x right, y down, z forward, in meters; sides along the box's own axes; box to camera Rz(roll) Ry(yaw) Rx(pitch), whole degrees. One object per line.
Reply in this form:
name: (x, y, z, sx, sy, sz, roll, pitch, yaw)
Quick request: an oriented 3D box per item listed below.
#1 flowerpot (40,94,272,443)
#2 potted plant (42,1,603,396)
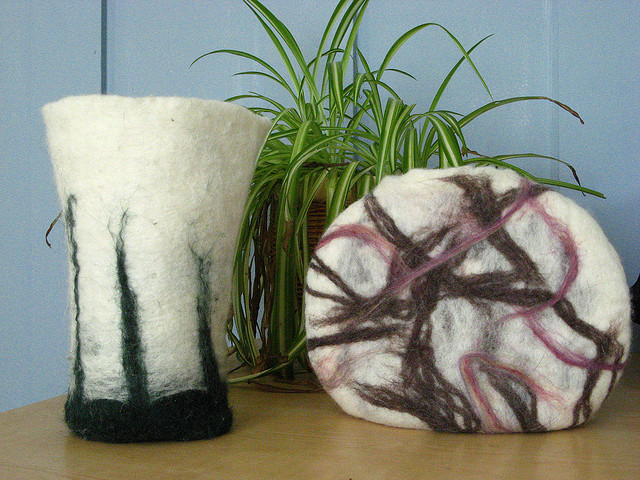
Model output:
flowerpot: (-0.154, 0.034, 1.424, 0.295, 0.364, 0.267, 2, -2, -1)
potted plant: (0.045, -0.085, 1.668, 0.642, 0.408, 0.576, 3, -1, -29)
